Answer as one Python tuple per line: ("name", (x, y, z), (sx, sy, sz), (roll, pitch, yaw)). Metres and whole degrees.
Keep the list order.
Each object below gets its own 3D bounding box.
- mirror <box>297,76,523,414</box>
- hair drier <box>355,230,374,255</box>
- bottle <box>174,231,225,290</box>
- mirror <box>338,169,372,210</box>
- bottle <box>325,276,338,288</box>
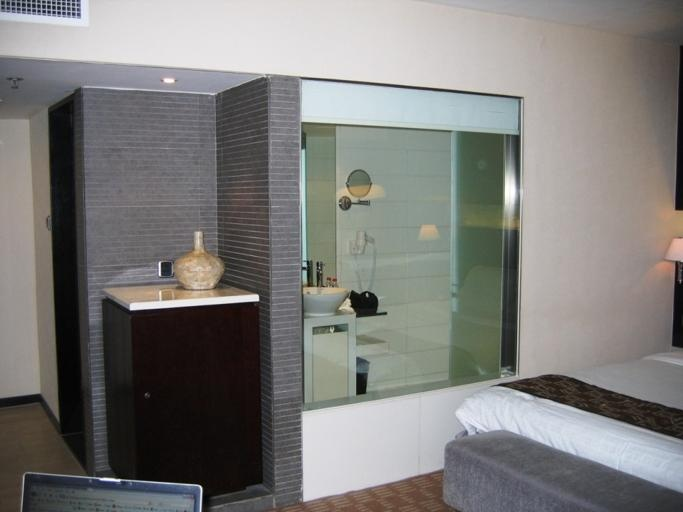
("mirror", (0.408, -0.099, 3.698), (2.349, 2.829, 0.034), (-1, 2, -29))
("hair drier", (0.158, -0.090, 3.615), (0.141, 0.156, 0.028), (-7, 9, -32))
("bottle", (-0.888, 0.017, 3.544), (0.348, 0.379, 0.352), (0, 1, -10))
("mirror", (0.076, -0.447, 3.555), (0.246, 0.255, 0.082), (-4, 6, -36))
("bottle", (-0.068, 0.168, 3.544), (0.064, 0.065, 0.065), (0, 6, -17))
